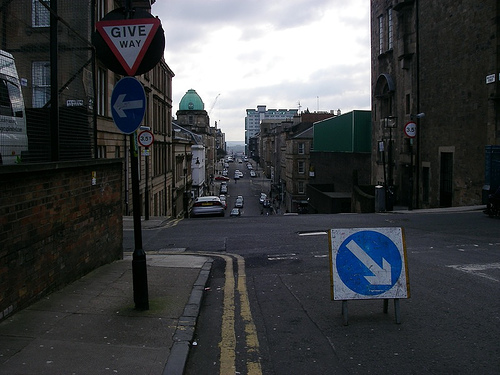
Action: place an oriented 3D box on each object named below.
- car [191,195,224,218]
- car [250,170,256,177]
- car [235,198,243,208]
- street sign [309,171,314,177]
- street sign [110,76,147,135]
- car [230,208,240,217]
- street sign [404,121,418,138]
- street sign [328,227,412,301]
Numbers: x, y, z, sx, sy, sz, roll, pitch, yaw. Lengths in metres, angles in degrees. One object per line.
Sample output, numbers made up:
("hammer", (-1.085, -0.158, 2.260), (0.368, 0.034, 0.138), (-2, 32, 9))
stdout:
("car", (-2.731, 1.300, 28.653), (1.922, 1.117, 2.512), (-2, 2, -7))
("car", (0.756, -4.404, 141.331), (1.576, 1.639, 8.842), (-2, 6, 0))
("car", (-1.704, 2.455, 68.457), (1.038, 1.138, 2.987), (-1, 2, 1))
("street sign", (8.834, -1.967, 63.823), (0.422, 0.974, 0.472), (0, -1, -2))
("street sign", (-2.015, -1.342, 7.361), (0.594, 1.011, 0.016), (-4, -13, -5))
("car", (-1.682, 2.787, 49.763), (0.804, 0.733, 1.936), (0, -1, -1))
("street sign", (9.248, -3.385, 26.237), (1.026, 1.173, 0.237), (-3, 0, -44))
("street sign", (1.892, 1.227, 7.169), (1.065, 1.139, 0.142), (2, -12, -9))
